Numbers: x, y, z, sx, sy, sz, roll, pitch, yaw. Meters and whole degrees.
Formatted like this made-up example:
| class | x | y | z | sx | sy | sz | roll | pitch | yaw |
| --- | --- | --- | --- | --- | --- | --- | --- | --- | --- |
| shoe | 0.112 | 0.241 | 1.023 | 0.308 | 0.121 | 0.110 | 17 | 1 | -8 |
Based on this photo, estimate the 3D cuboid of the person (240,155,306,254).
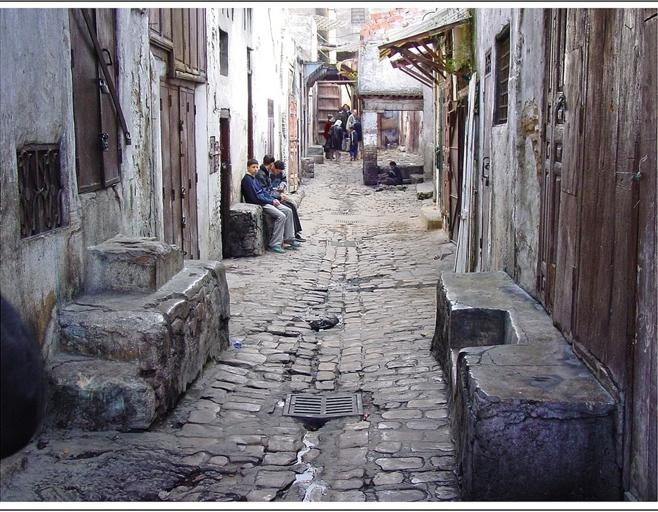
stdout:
| class | x | y | z | sx | sy | sz | roll | pitch | yaw |
| --- | --- | --- | --- | --- | --- | --- | --- | --- | --- |
| person | -1.263 | -1.121 | 11.804 | 1.141 | 1.921 | 0.986 | 4 | 10 | 30 |

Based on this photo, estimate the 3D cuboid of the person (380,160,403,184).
| class | x | y | z | sx | sy | sz | roll | pitch | yaw |
| --- | --- | --- | --- | --- | --- | --- | --- | --- | --- |
| person | 2.508 | -3.318 | 21.741 | 0.923 | 0.943 | 1.693 | 1 | 10 | 9 |
